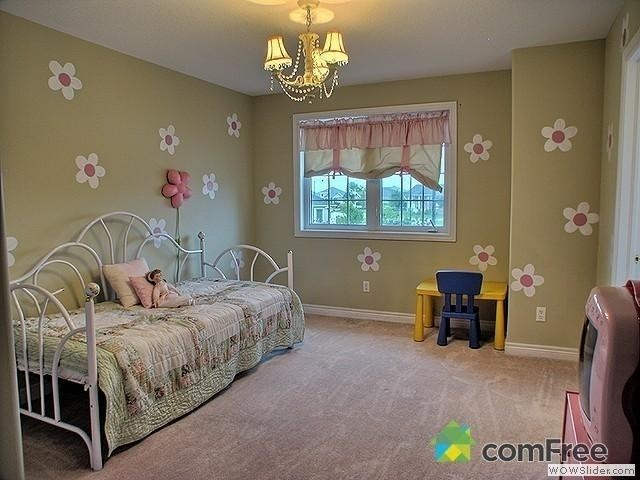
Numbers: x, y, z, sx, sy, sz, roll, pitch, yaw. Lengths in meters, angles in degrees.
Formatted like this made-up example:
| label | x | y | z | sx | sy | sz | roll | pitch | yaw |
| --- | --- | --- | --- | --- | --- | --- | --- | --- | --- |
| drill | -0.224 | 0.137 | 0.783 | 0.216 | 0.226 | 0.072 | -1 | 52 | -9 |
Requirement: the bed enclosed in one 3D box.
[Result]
| label | x | y | z | sx | sy | sz | roll | pitch | yaw |
| --- | --- | --- | --- | --- | --- | --- | --- | --- | --- |
| bed | -1.336 | 0.521 | 3.944 | 1.425 | 1.545 | 2.625 | 1 | 5 | 19 |

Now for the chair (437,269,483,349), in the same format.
| label | x | y | z | sx | sy | sz | roll | pitch | yaw |
| --- | --- | --- | --- | --- | --- | --- | --- | --- | --- |
| chair | 1.449 | 0.673 | 4.537 | 0.436 | 0.814 | 0.477 | 3 | 11 | 20 |

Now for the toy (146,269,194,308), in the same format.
| label | x | y | z | sx | sy | sz | roll | pitch | yaw |
| --- | --- | --- | --- | --- | --- | --- | --- | --- | --- |
| toy | -1.328 | 0.429 | 3.850 | 0.375 | 0.291 | 0.295 | 2 | -3 | 4 |

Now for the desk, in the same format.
| label | x | y | z | sx | sy | sz | roll | pitch | yaw |
| --- | --- | --- | --- | --- | --- | --- | --- | --- | --- |
| desk | 1.537 | 0.785 | 4.748 | 0.930 | 0.628 | 0.617 | 2 | 8 | 25 |
